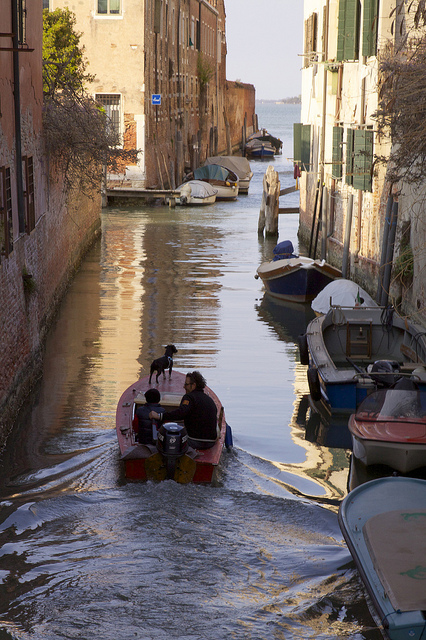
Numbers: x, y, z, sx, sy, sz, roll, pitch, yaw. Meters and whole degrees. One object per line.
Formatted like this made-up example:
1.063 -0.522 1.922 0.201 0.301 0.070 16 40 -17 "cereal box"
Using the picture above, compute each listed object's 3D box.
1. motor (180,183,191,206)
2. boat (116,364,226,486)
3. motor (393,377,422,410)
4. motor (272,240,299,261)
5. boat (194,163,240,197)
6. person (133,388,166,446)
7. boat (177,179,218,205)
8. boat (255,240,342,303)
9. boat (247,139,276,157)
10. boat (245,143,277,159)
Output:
-1.182 -5.584 39.298 0.497 0.843 0.256 -5 -16 45 "motor"
-0.446 1.023 9.274 1.121 0.994 2.061 -1 10 -4 "boat"
2.173 0.783 9.758 0.217 0.340 0.337 5 24 3 "motor"
1.788 -1.666 21.942 0.377 0.440 0.612 -2 1 -9 "motor"
0.224 -6.673 43.131 1.657 1.423 3.366 2 14 2 "boat"
-0.684 1.073 9.176 0.256 0.900 0.299 3 36 -16 "person"
-0.816 -5.635 40.119 0.913 1.026 2.762 4 11 26 "boat"
1.892 -1.022 20.499 1.432 1.472 1.752 -1 12 -1 "boat"
4.559 -15.962 83.268 2.282 1.593 4.015 -1 10 -2 "boat"
4.730 -15.508 82.352 2.095 1.011 1.372 -6 22 -1 "boat"
